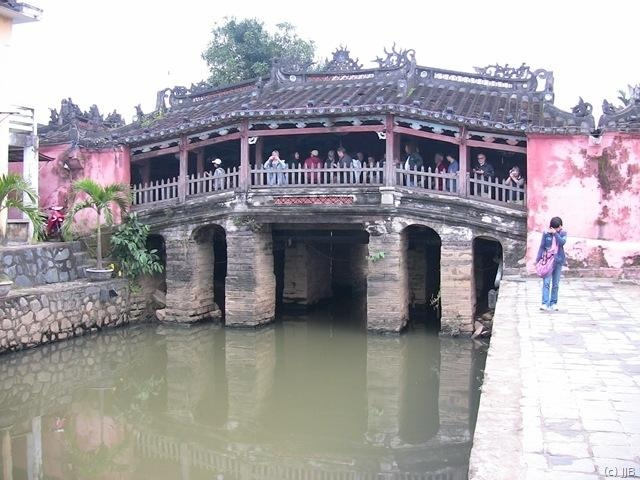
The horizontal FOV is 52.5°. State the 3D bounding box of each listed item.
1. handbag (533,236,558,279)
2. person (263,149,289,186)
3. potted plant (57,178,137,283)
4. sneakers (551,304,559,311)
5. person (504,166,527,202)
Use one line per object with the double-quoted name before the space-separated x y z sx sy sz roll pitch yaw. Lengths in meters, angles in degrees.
"handbag" 4.305 0.337 12.333 0.361 0.791 0.293 3 14 20
"person" -1.295 -1.888 17.952 0.564 1.245 0.327 -5 34 -14
"potted plant" -6.811 -0.508 18.750 2.331 3.188 2.532 -7 33 -21
"sneakers" 4.536 1.325 12.565 0.146 0.149 0.110 -1 -14 2
"person" 5.054 -1.410 16.938 0.509 0.875 1.528 2 13 17
